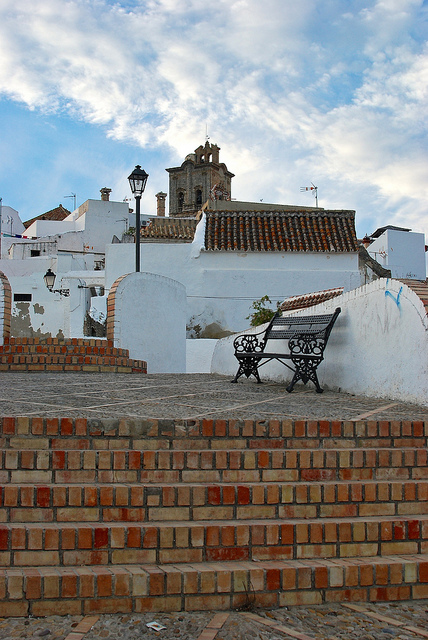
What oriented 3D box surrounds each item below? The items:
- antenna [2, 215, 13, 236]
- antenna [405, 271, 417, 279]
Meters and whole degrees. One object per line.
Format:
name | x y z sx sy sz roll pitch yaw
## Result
antenna | -9.563 -4.414 52.775 0.295 0.911 0.904 -4 -1 26
antenna | 5.781 -1.309 33.322 0.472 0.114 0.456 2 -9 -2
